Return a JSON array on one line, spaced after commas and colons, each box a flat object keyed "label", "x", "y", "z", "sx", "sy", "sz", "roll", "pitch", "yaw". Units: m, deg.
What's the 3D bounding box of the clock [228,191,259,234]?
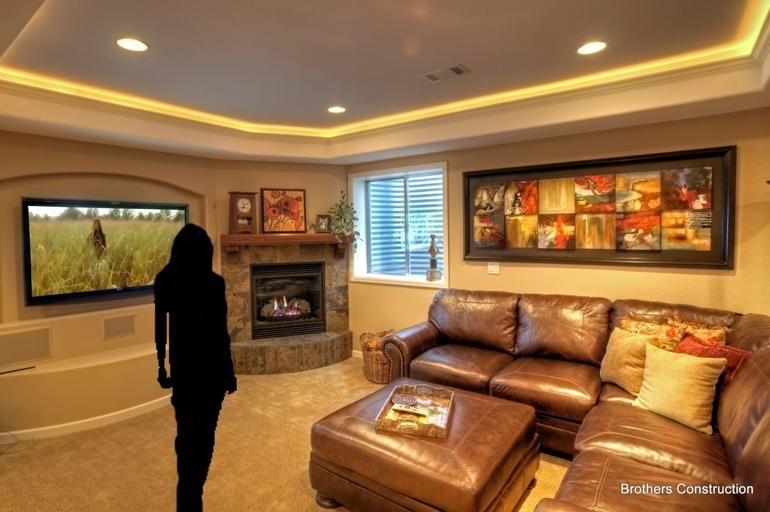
[{"label": "clock", "x": -1.760, "y": -0.533, "z": 6.274, "sx": 0.342, "sy": 0.508, "sz": 0.150, "roll": -1, "pitch": 3, "yaw": -27}]

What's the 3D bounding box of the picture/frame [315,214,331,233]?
[{"label": "picture/frame", "x": -0.816, "y": -0.416, "z": 6.611, "sx": 0.235, "sy": 0.273, "sz": 0.032, "roll": 1, "pitch": -6, "yaw": -12}]

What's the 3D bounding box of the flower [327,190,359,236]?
[{"label": "flower", "x": -0.544, "y": -0.561, "z": 6.701, "sx": 0.418, "sy": 0.640, "sz": 0.322, "roll": 0, "pitch": 3, "yaw": -13}]

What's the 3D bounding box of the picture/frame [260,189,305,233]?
[{"label": "picture/frame", "x": -1.360, "y": -0.576, "z": 6.493, "sx": 0.594, "sy": 0.540, "sz": 0.058, "roll": -1, "pitch": 4, "yaw": -21}]

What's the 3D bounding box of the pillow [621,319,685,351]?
[{"label": "pillow", "x": 2.366, "y": 0.682, "z": 4.444, "sx": 0.249, "sy": 0.074, "sz": 0.256, "roll": -16, "pitch": 10, "yaw": -20}]

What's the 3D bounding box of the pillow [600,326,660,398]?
[{"label": "pillow", "x": 2.110, "y": 0.931, "z": 4.306, "sx": 0.255, "sy": 0.451, "sz": 0.483, "roll": 32, "pitch": 2, "yaw": -12}]
